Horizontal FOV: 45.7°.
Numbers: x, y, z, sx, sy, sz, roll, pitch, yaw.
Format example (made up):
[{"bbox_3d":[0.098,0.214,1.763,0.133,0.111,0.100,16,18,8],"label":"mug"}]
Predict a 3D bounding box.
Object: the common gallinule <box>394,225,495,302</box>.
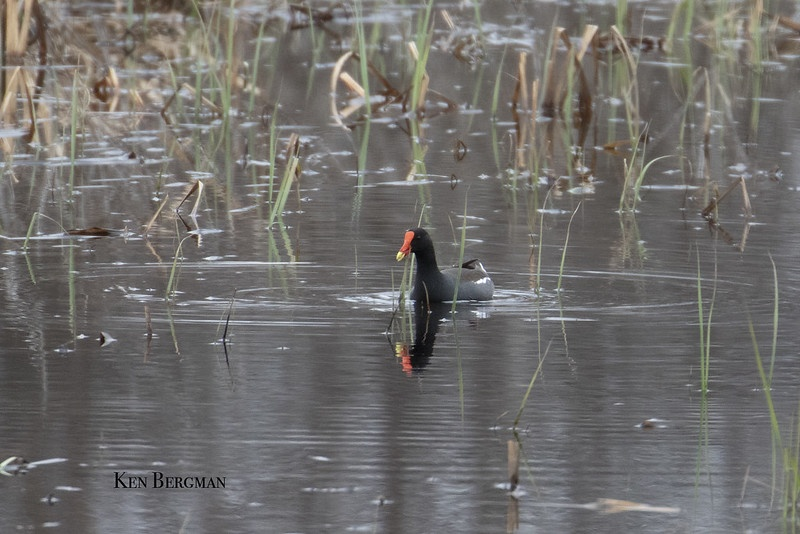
[{"bbox_3d":[0.342,0.041,8.045,0.941,0.531,0.557,3,82,-34],"label":"common gallinule"}]
